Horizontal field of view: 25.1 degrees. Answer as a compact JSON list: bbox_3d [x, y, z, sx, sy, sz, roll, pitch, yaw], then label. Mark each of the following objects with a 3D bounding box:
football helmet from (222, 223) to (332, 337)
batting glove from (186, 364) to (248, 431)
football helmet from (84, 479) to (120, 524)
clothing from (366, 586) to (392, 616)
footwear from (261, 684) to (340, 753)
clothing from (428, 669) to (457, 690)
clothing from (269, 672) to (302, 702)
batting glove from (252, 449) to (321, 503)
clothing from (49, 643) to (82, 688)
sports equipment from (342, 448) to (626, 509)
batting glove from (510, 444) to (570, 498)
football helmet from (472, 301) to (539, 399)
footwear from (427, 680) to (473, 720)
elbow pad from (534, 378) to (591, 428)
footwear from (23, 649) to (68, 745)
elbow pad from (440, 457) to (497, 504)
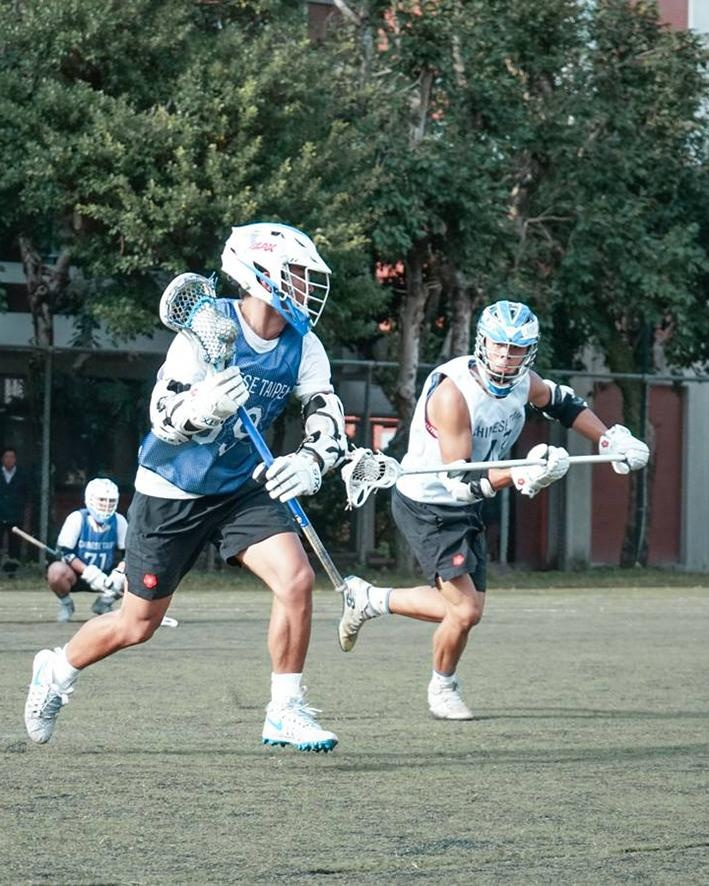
[{"bbox_3d":[-0.377,-0.651,6.263,0.536,0.403,0.406,5,-4,-2],"label":"football helmet"},{"bbox_3d":[-0.514,-0.163,5.780,0.162,0.232,0.219,1,0,-41],"label":"batting glove"},{"bbox_3d":[-1.880,0.415,11.749,0.299,0.289,0.346,0,0,-16],"label":"football helmet"},{"bbox_3d":[0.107,0.734,7.504,0.134,0.129,0.209,-3,3,-11],"label":"clothing"},{"bbox_3d":[-0.199,1.052,6.012,0.156,0.215,0.277,1,0,-41],"label":"footwear"},{"bbox_3d":[0.385,1.045,7.059,0.113,0.085,0.061,1,-3,8],"label":"clothing"},{"bbox_3d":[-0.262,0.931,6.098,0.130,0.104,0.114,1,-11,-3],"label":"clothing"},{"bbox_3d":[-0.242,0.127,6.039,0.166,0.098,0.261,25,13,6],"label":"batting glove"},{"bbox_3d":[-1.110,0.871,6.250,0.145,0.173,0.072,-21,-36,35],"label":"clothing"},{"bbox_3d":[0.530,0.118,6.879,1.245,0.136,0.376,-2,32,7],"label":"sports equipment"},{"bbox_3d":[0.804,0.113,6.930,0.277,0.191,0.129,-37,-18,6],"label":"batting glove"},{"bbox_3d":[0.656,-0.420,6.993,0.273,0.416,0.275,1,0,3],"label":"football helmet"},{"bbox_3d":[0.419,1.107,6.960,0.190,0.181,0.228,1,0,0],"label":"footwear"},{"bbox_3d":[0.976,-0.171,7.590,0.279,0.185,0.124,31,-32,11],"label":"elbow pad"},{"bbox_3d":[-1.185,0.979,6.223,0.199,0.382,0.145,-17,-30,34],"label":"footwear"},{"bbox_3d":[0.474,0.158,6.826,0.243,0.106,0.165,6,-37,22],"label":"elbow pad"}]
